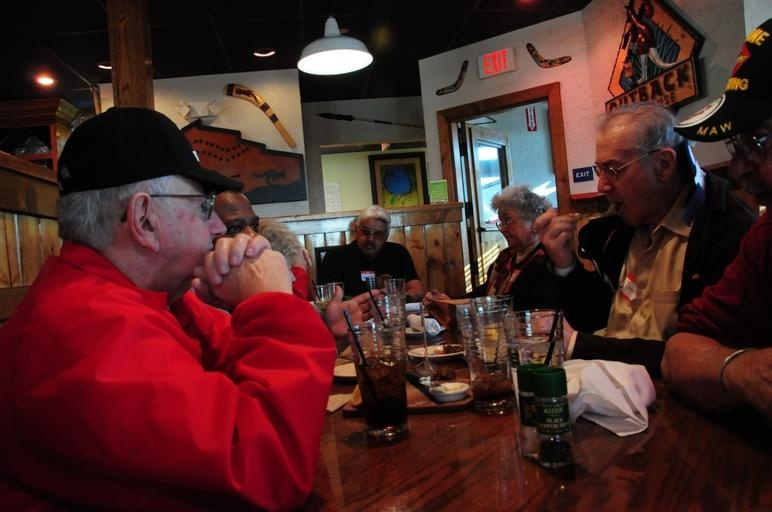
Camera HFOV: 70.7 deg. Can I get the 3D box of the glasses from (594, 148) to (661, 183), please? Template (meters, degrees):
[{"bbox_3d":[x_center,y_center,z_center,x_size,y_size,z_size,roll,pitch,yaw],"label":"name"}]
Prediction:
[{"bbox_3d":[1.037,-0.371,2.333,0.136,0.036,0.128,-27,4,-3],"label":"glasses"}]

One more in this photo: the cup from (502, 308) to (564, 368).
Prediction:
[{"bbox_3d":[0.376,0.204,1.395,0.149,0.161,0.154,-1,-9,0],"label":"cup"}]

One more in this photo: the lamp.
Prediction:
[{"bbox_3d":[-0.419,-1.714,4.313,0.542,0.309,0.536,-9,15,-15],"label":"lamp"}]

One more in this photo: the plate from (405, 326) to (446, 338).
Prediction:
[{"bbox_3d":[0.179,0.344,2.468,0.165,0.023,0.118,0,2,4],"label":"plate"}]

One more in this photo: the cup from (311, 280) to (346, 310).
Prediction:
[{"bbox_3d":[-0.276,0.176,2.496,0.180,0.166,0.110,-2,-1,17],"label":"cup"}]

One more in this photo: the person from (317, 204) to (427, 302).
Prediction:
[{"bbox_3d":[-0.123,0.000,4.567,1.026,0.819,0.699,-1,2,-5],"label":"person"}]

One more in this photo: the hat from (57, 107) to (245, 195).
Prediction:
[{"bbox_3d":[-0.638,-0.264,1.435,0.346,0.169,0.228,-7,8,-26],"label":"hat"}]

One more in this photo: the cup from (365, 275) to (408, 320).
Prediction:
[{"bbox_3d":[0.002,0.152,1.967,0.155,0.233,0.150,-2,-21,-1],"label":"cup"}]
